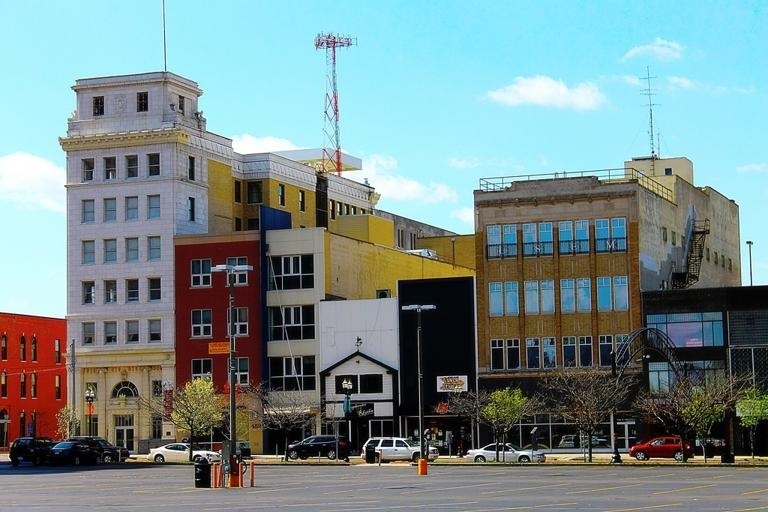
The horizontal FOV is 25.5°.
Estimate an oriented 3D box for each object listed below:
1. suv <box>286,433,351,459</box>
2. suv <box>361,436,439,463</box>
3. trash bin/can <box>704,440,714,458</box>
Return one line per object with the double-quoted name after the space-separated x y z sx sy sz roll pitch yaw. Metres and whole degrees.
-5.347 15.935 142.944 4.779 1.773 2.208 1 -6 16 "suv"
0.889 15.851 140.861 4.366 2.368 2.367 -4 -13 6 "suv"
27.253 15.768 140.478 0.636 1.626 3.084 -5 -14 13 "trash bin/can"
